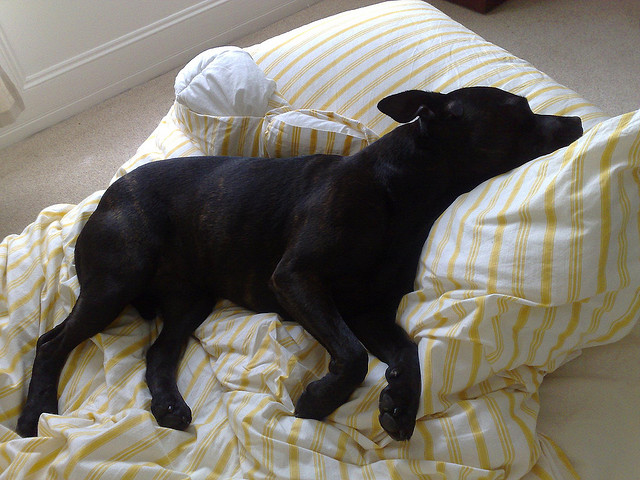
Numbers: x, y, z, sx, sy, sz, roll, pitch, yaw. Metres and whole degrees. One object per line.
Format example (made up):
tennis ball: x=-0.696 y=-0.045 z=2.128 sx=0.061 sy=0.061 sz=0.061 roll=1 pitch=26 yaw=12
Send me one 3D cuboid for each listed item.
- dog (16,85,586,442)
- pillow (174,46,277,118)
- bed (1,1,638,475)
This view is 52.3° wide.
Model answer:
dog: x=-0.023 y=0.100 z=2.009 sx=1.496 sy=0.431 sz=0.951 roll=-14 pitch=50 yaw=22
pillow: x=-0.355 y=-0.594 z=2.502 sx=0.301 sy=0.124 sz=0.378 roll=-19 pitch=41 yaw=-14
bed: x=0.092 y=-0.057 z=2.115 sx=1.644 sy=0.475 sz=1.664 roll=11 pitch=56 yaw=19
